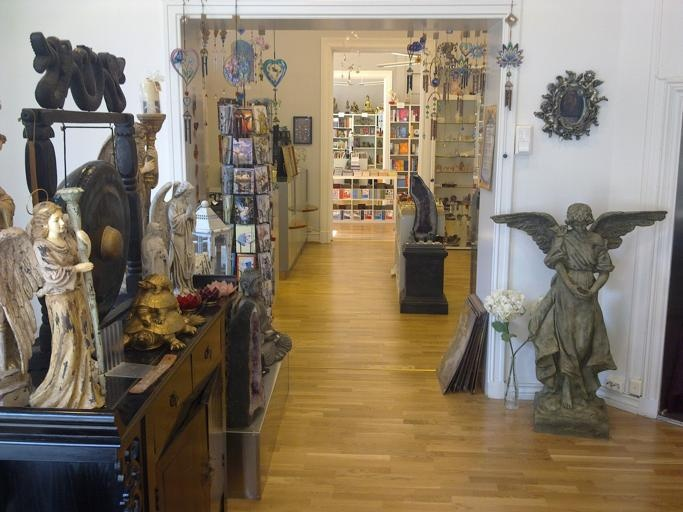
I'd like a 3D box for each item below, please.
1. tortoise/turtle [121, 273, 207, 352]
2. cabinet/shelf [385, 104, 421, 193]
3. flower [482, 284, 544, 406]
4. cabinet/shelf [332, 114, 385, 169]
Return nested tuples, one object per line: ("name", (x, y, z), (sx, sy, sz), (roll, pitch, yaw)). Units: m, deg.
("tortoise/turtle", (-0.892, 0.258, 3.012), (0.307, 0.274, 0.349), (0, 6, 10))
("cabinet/shelf", (1.350, -2.636, 13.936), (0.677, 1.588, 0.957), (0, 14, -2))
("flower", (1.368, 0.688, 5.132), (0.415, 1.027, 0.429), (0, 12, 0))
("cabinet/shelf", (0.303, -2.760, 14.685), (1.183, 1.263, 0.605), (0, 14, -2))
